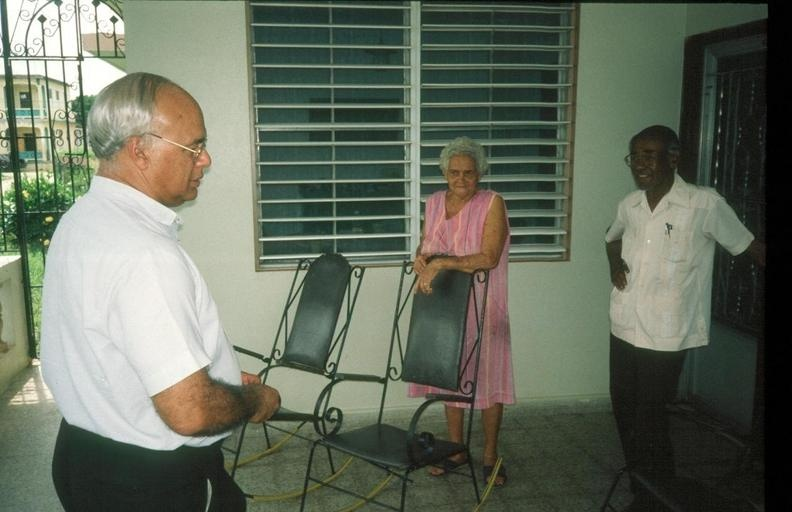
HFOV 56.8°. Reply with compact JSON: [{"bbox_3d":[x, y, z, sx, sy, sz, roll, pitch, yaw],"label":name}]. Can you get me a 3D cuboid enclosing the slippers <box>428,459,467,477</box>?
[{"bbox_3d":[0.361,1.403,4.897,0.317,0.079,0.135,1,1,-36],"label":"slippers"}]
